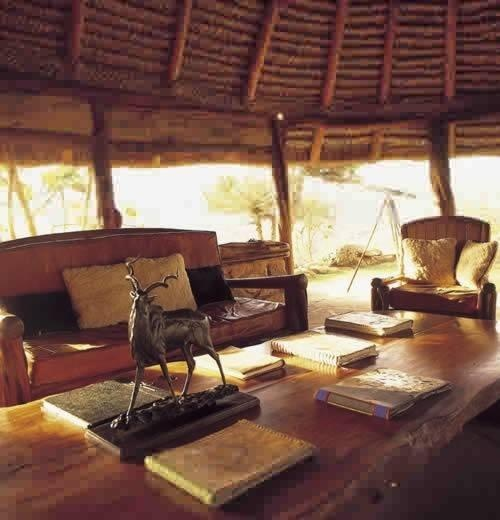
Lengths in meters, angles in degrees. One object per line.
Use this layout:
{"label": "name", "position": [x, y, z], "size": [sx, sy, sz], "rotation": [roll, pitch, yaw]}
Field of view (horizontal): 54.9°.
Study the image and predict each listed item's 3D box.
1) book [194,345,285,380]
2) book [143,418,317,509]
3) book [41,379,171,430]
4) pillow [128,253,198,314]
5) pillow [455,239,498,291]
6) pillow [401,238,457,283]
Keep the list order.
{"label": "book", "position": [-0.031, 0.386, 1.788], "size": [0.168, 0.038, 0.174], "rotation": [5, 8, 45]}
{"label": "book", "position": [-0.044, 0.466, 1.143], "size": [0.330, 0.044, 0.240], "rotation": [-6, 13, -42]}
{"label": "book", "position": [-0.416, 0.432, 1.431], "size": [0.234, 0.031, 0.243], "rotation": [5, 7, 30]}
{"label": "pillow", "position": [-0.518, 0.165, 2.817], "size": [0.389, 0.361, 0.110], "rotation": [-10, -16, -45]}
{"label": "pillow", "position": [1.880, 0.061, 3.850], "size": [0.117, 0.361, 0.365], "rotation": [18, 1, -26]}
{"label": "pillow", "position": [1.536, 0.009, 4.077], "size": [0.372, 0.339, 0.142], "rotation": [2, -23, 21]}
